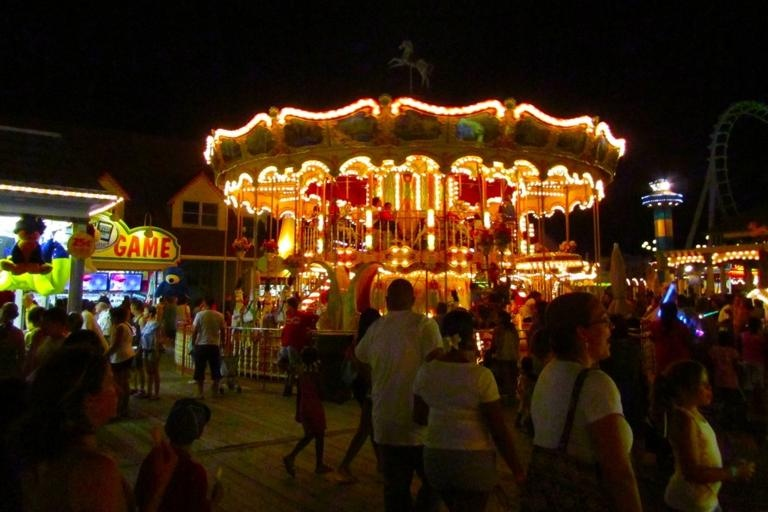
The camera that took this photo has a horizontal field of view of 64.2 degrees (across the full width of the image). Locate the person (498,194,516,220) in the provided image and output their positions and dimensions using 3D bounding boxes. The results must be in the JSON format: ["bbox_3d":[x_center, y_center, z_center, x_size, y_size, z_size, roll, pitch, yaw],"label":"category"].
[{"bbox_3d":[2.902,-1.138,14.514,0.334,0.651,1.546,0,2,10],"label":"person"}]

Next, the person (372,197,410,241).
[{"bbox_3d":[0.166,-0.780,14.101,0.890,0.930,0.878,1,-10,-18],"label":"person"}]

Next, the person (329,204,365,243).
[{"bbox_3d":[-0.995,-0.799,15.474,0.883,1.280,0.903,0,-6,-10],"label":"person"}]
